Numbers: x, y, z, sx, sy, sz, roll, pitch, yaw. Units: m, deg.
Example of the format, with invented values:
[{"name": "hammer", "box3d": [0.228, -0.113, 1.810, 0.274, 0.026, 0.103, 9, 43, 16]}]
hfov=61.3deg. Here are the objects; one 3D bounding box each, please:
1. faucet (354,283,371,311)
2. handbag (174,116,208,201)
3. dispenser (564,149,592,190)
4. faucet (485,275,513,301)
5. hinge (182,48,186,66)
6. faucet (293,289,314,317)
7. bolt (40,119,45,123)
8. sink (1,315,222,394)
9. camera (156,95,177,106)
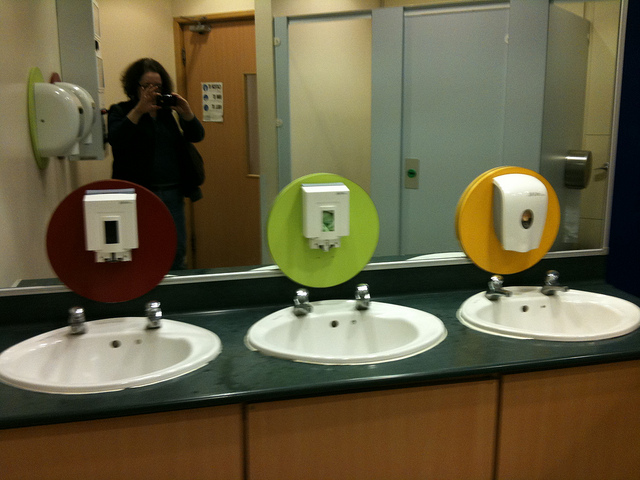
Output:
[{"name": "faucet", "box3d": [0.147, 0.197, 1.898, 0.067, 0.105, 0.072, 0, 5, -3]}, {"name": "handbag", "box3d": [-0.447, -0.264, 1.844, 0.146, 0.232, 0.056, -4, 13, -5]}, {"name": "dispenser", "box3d": [1.059, -0.304, 2.224, 0.074, 0.154, 0.151, 4, 20, 29]}, {"name": "faucet", "box3d": [0.655, 0.180, 2.008, 0.057, 0.118, 0.106, 1, 0, -37]}, {"name": "hinge", "box3d": [-0.459, -0.616, 1.814, 0.012, 0.052, 0.006, -6, 11, -15]}, {"name": "faucet", "box3d": [-0.062, 0.222, 1.868, 0.062, 0.098, 0.082, 0, 2, -7]}, {"name": "bolt", "box3d": [-0.927, -0.397, 1.791, 0.010, 0.012, 0.003, 1, 6, -10]}, {"name": "sink", "box3d": [-0.636, 0.379, 1.667, 0.657, 0.168, 0.405, -2, 12, 4]}, {"name": "camera", "box3d": [-0.531, -0.479, 1.853, 0.051, 0.038, 0.013, 3, 10, -4]}]
